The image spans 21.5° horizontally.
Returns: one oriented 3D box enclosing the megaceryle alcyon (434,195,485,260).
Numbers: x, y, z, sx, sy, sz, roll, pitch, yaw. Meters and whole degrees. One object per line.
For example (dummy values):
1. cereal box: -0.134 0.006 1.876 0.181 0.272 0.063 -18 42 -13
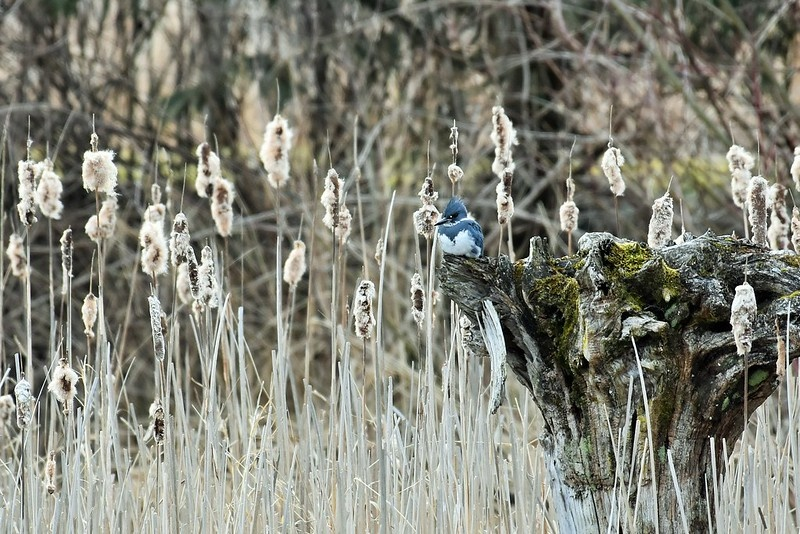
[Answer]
1. megaceryle alcyon: 0.413 -0.282 15.056 0.319 0.428 0.422 -4 0 0
